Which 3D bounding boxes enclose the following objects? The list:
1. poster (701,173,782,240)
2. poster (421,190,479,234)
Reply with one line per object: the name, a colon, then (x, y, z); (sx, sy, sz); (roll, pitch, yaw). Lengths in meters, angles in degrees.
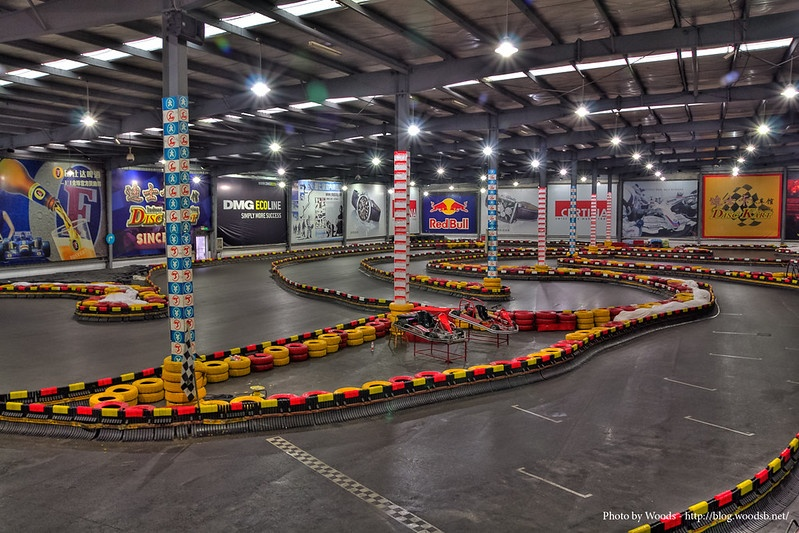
poster: (29.106, -5.061, 38.622); (9.137, 5.733, 0.691); (-3, 5, -14)
poster: (4.975, -5.466, 46.378); (8.211, 4.404, 0.729); (-5, 8, -36)
